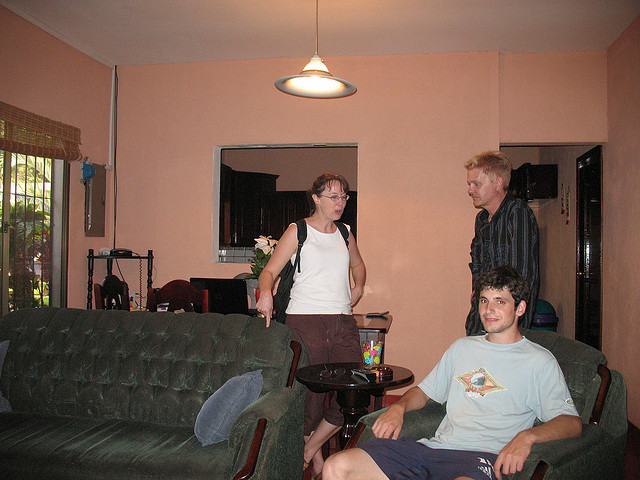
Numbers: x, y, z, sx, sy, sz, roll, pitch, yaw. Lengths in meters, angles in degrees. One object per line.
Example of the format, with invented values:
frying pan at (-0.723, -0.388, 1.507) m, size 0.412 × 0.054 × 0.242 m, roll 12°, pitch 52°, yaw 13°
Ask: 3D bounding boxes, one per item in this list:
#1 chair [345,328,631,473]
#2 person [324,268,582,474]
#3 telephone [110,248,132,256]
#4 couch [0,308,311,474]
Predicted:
chair at (0.995, 0.902, 3.065) m, size 0.997 × 0.949 × 0.958 m, roll 10°, pitch -15°, yaw -34°
person at (0.684, 0.655, 3.045) m, size 1.292 × 1.030 × 0.832 m, roll -5°, pitch 1°, yaw -28°
telephone at (-1.979, 0.120, 5.637) m, size 0.203 × 0.059 × 0.140 m, roll -2°, pitch -1°, yaw -25°
couch at (-1.098, 0.918, 3.395) m, size 1.990 × 0.823 × 0.767 m, roll -3°, pitch -1°, yaw 9°
